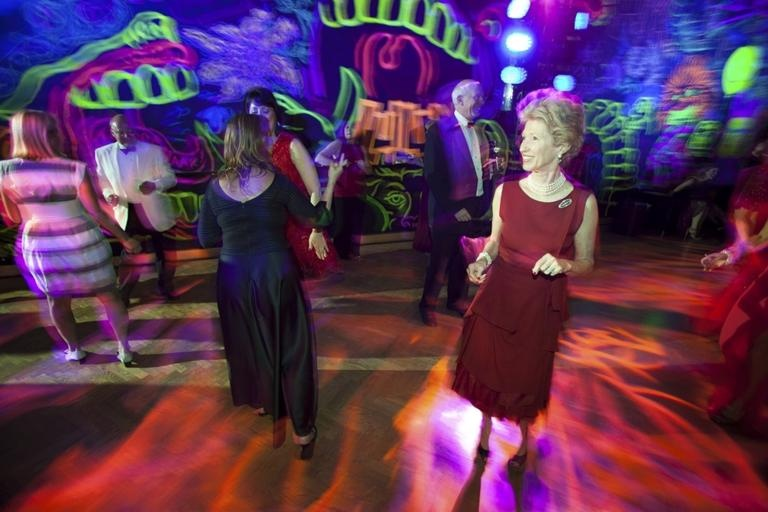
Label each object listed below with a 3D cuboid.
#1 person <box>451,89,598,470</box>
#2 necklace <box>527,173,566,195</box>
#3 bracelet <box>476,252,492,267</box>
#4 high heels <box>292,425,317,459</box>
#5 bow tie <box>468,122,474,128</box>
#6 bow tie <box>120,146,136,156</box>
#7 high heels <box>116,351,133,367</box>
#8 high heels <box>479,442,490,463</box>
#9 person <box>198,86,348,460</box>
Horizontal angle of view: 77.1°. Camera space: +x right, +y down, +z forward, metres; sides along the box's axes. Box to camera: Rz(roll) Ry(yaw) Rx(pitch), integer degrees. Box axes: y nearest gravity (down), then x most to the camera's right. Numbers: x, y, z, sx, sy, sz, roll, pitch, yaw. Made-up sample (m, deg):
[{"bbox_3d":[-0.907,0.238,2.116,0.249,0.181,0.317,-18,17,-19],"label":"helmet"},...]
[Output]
[{"bbox_3d":[1.028,0.045,3.484,0.913,2.383,0.550,5,17,20],"label":"person"},{"bbox_3d":[1.133,-0.472,3.354,0.186,0.064,0.176,-4,45,12],"label":"necklace"},{"bbox_3d":[0.738,0.024,3.485,0.056,0.084,0.113,-15,-23,41],"label":"bracelet"},{"bbox_3d":[-0.607,1.465,3.766,0.095,0.262,0.089,5,2,1],"label":"high heels"},{"bbox_3d":[0.885,-1.320,4.865,0.068,0.018,0.064,-17,41,-23],"label":"bow tie"},{"bbox_3d":[-2.546,-1.048,4.813,0.092,0.024,0.093,-12,-3,-5],"label":"bow tie"},{"bbox_3d":[-2.401,0.961,4.486,0.122,0.123,0.075,-7,25,-1],"label":"high heels"},{"bbox_3d":[0.786,1.537,3.762,0.091,0.121,0.045,-12,-6,18],"label":"high heels"},{"bbox_3d":[-0.875,0.253,3.667,0.915,2.577,0.496,3,17,16],"label":"person"}]
